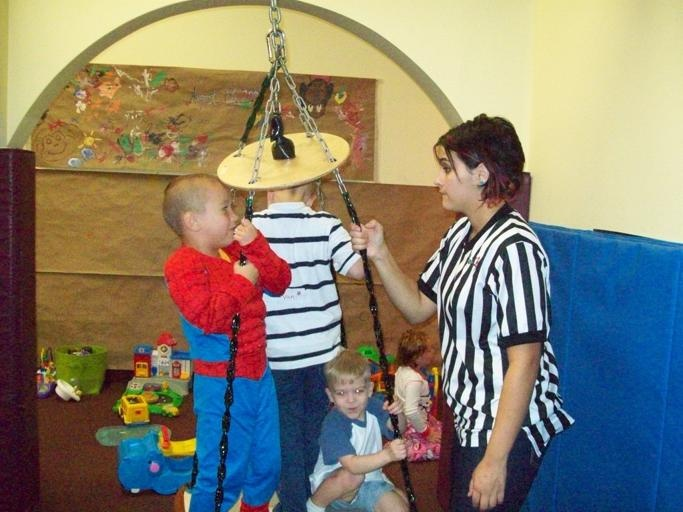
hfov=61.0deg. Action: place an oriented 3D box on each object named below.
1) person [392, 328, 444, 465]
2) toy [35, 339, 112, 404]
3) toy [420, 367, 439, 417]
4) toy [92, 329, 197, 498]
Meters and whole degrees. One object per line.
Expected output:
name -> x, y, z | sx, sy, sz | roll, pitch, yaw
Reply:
person -> 0.510, 0.869, 3.599 | 0.407, 0.795, 0.339 | -3, 13, -12
toy -> -2.045, 0.849, 4.537 | 0.573, 0.460, 0.653 | 1, -3, 6
toy -> 0.640, 0.933, 3.966 | 0.083, 0.307, 0.265 | 2, -1, -7
toy -> -1.194, 0.930, 3.638 | 0.653, 0.375, 0.963 | 2, 15, -11
